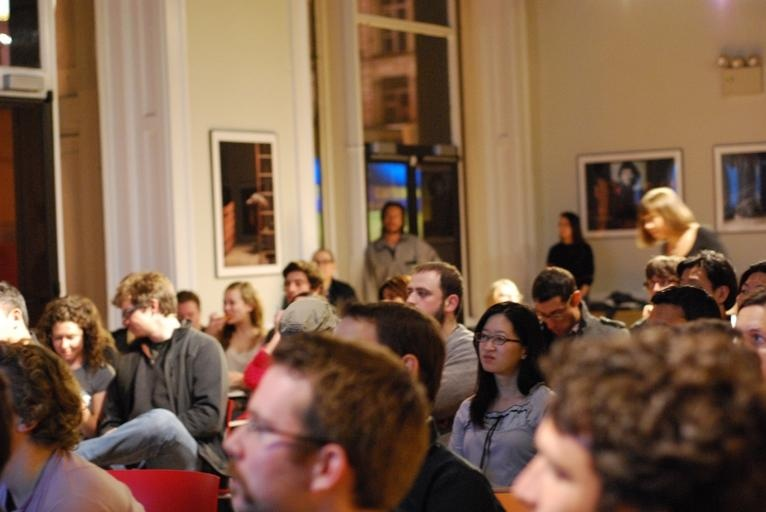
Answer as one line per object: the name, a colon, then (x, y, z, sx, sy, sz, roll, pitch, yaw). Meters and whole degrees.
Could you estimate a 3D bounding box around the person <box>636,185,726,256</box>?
person: (2.529, -0.220, 7.087, 0.660, 0.771, 0.433, -8, 1, 0)

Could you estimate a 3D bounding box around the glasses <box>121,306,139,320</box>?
glasses: (-1.514, 0.323, 4.858, 0.085, 0.089, 0.026, -22, 52, -40)

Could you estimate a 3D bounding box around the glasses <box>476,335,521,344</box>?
glasses: (0.597, 0.438, 4.322, 0.092, 0.025, 0.089, 20, -21, -40)
